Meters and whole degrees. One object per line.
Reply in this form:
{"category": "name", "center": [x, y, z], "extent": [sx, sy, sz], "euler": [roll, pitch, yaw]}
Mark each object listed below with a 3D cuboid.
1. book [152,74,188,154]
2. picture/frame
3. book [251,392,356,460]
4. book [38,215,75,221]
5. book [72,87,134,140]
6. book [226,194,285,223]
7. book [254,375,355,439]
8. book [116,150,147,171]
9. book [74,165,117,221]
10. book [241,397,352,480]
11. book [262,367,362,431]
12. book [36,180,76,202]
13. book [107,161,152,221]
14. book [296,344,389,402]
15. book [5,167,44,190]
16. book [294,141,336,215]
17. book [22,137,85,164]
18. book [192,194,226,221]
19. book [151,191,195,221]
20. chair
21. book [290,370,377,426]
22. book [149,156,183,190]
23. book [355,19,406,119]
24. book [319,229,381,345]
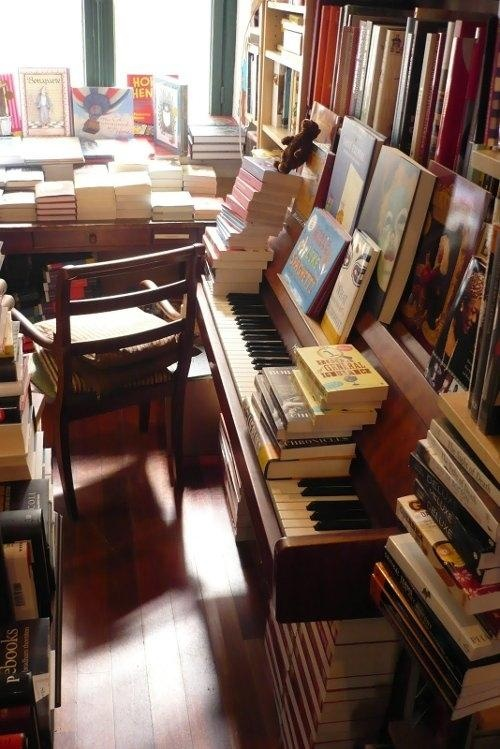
{"category": "book", "center": [-0.448, -1.462, 2.918], "extent": [0.054, 0.355, 0.350], "euler": [-11, 32, -24]}
{"category": "picture/frame", "center": [-1.124, -1.480, 2.852], "extent": [0.251, 0.414, 0.041], "euler": [-4, -8, -13]}
{"category": "book", "center": [0.121, 0.104, 1.022], "extent": [0.114, 0.033, 0.129], "euler": [-1, 29, -20]}
{"category": "book", "center": [-0.920, -0.743, 2.472], "extent": [0.169, 0.033, 0.011], "euler": [-7, 29, -21]}
{"category": "book", "center": [-0.848, -1.492, 2.938], "extent": [0.310, 0.318, 0.053], "euler": [-2, 38, -11]}
{"category": "book", "center": [0.047, -0.559, 1.798], "extent": [0.132, 0.037, 0.147], "euler": [-9, 42, -28]}
{"category": "book", "center": [0.106, 0.062, 1.023], "extent": [0.106, 0.036, 0.172], "euler": [-4, 34, -17]}
{"category": "book", "center": [-0.635, -1.141, 2.792], "extent": [0.121, 0.038, 0.151], "euler": [-6, 38, -9]}
{"category": "book", "center": [-0.779, -0.895, 2.602], "extent": [0.188, 0.171, 0.295], "euler": [-6, 33, -18]}
{"category": "book", "center": [0.093, 0.147, 1.053], "extent": [0.113, 0.045, 0.183], "euler": [-3, 26, -12]}
{"category": "book", "center": [0.114, 0.057, 1.018], "extent": [0.104, 0.035, 0.168], "euler": [-5, 35, -17]}
{"category": "book", "center": [-0.944, -0.894, 2.513], "extent": [0.183, 0.039, 0.236], "euler": [-5, 34, -18]}
{"category": "book", "center": [-0.592, -0.979, 2.573], "extent": [0.175, 0.176, 0.350], "euler": [-3, 36, -9]}
{"category": "book", "center": [0.179, -0.004, 1.019], "extent": [0.092, 0.031, 0.151], "euler": [-5, 35, -11]}
{"category": "book", "center": [-1.136, -0.978, 2.609], "extent": [0.203, 0.074, 0.229], "euler": [-1, 33, -11]}
{"category": "book", "center": [0.162, -0.595, 1.583], "extent": [0.035, 0.192, 0.157], "euler": [5, 8, -13]}
{"category": "book", "center": [-1.057, -1.194, 2.771], "extent": [0.296, 0.074, 0.455], "euler": [-7, 35, -21]}
{"category": "book", "center": [-0.222, -0.854, 2.681], "extent": [0.141, 0.041, 0.164], "euler": [6, 36, 7]}
{"category": "book", "center": [-0.394, -0.851, 2.615], "extent": [0.162, 0.058, 0.194], "euler": [-5, 49, -10]}
{"category": "chair", "center": [-0.511, 0.068, 1.939], "extent": [0.583, 1.145, 0.702], "euler": [-12, 39, -24]}
{"category": "book", "center": [0.172, 0.051, 0.999], "extent": [0.091, 0.028, 0.112], "euler": [-3, 34, -23]}
{"category": "book", "center": [-0.458, -1.064, 2.830], "extent": [0.135, 0.109, 0.224], "euler": [-4, 35, -9]}
{"category": "book", "center": [0.312, -0.722, 1.224], "extent": [0.107, 0.242, 0.235], "euler": [9, 35, 12]}
{"category": "book", "center": [0.235, -0.198, 1.198], "extent": [0.028, 0.250, 0.183], "euler": [9, 32, -11]}
